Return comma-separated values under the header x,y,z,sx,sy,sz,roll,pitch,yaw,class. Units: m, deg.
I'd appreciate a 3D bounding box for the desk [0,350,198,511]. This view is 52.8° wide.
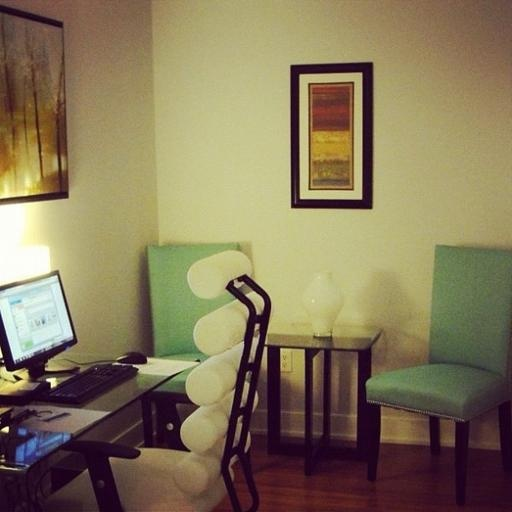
x,y,z,sx,sy,sz,roll,pitch,yaw,class
-0.479,0.715,1.823,0.733,0.400,0.389,0,2,18,desk

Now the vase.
x,y,z,sx,sy,sz,roll,pitch,yaw,class
0.372,0.256,2.895,0.220,0.378,0.221,8,17,25,vase

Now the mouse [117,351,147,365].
x,y,z,sx,sy,sz,roll,pitch,yaw,class
-0.535,0.449,2.229,0.093,0.033,0.060,5,5,-1,mouse
